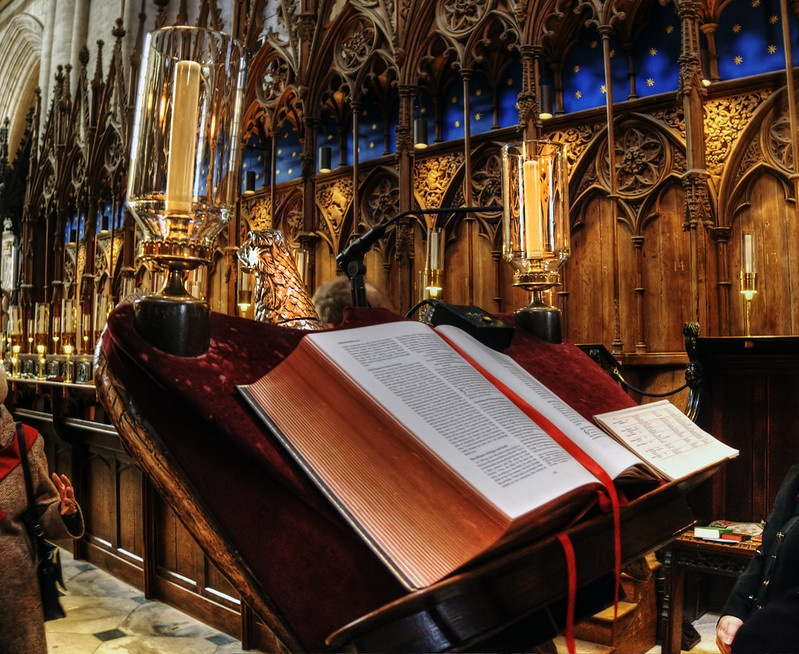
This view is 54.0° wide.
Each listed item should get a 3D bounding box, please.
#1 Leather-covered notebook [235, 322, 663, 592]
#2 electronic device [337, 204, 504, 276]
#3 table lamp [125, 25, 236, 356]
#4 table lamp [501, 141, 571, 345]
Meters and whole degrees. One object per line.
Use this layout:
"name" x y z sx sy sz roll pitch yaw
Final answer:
"Leather-covered notebook" 0.058 0.253 1.758 0.720 0.544 0.414 -2 0 22
"electronic device" 0.071 -0.247 2.429 0.503 0.308 0.062 6 18 -15
"table lamp" -0.492 -0.324 1.854 0.293 0.685 0.273 -1 0 -21
"table lamp" 0.430 -0.268 2.450 0.202 0.633 0.177 -1 0 10
